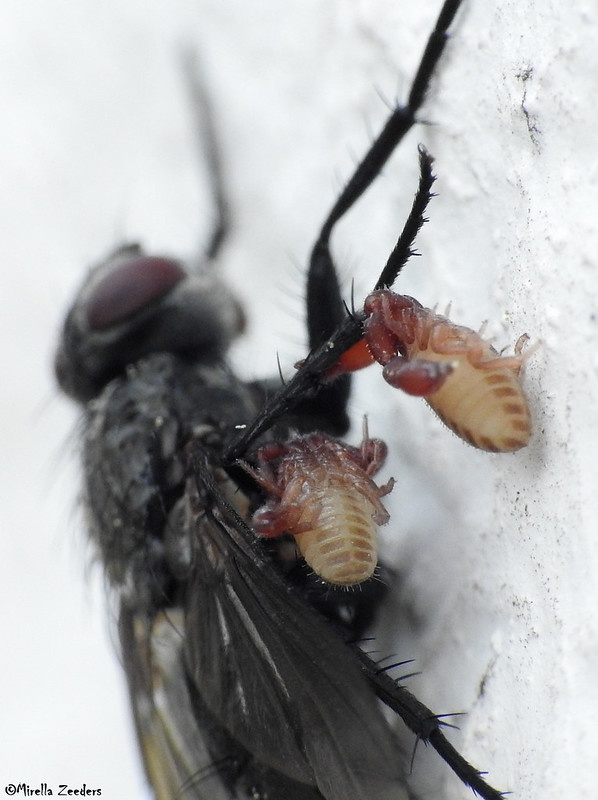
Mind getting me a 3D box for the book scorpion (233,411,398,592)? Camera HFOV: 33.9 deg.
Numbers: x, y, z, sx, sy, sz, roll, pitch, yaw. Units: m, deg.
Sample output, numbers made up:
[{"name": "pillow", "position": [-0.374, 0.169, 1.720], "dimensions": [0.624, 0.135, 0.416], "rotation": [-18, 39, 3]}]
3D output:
[{"name": "book scorpion", "position": [0.015, 0.093, 1.011], "dimensions": [0.146, 0.058, 0.178], "rotation": [-24, 42, 2]}]
